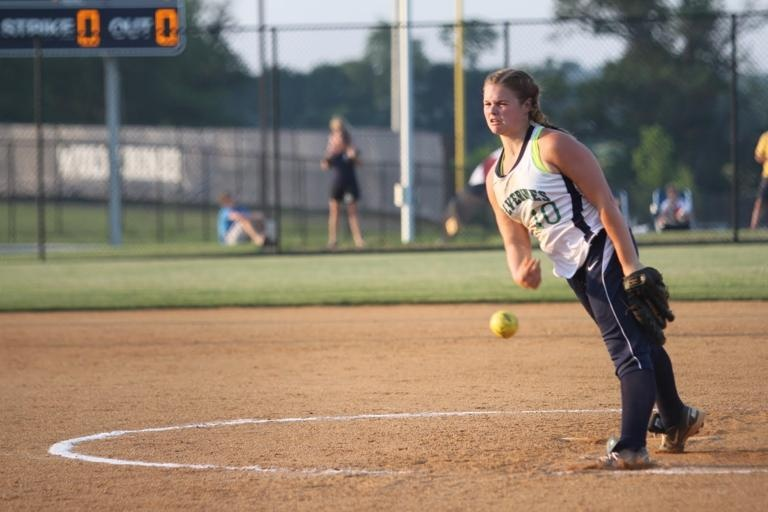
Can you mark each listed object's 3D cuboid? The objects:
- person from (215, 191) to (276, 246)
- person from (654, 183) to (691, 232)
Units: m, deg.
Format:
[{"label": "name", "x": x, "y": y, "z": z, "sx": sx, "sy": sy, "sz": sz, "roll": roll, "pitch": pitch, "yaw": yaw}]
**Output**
[{"label": "person", "x": -2.321, "y": -0.595, "z": 24.900, "sx": 0.818, "sy": 0.964, "sz": 0.455, "roll": -13, "pitch": -12, "yaw": 14}, {"label": "person", "x": 5.983, "y": -1.022, "z": 31.522, "sx": 0.792, "sy": 0.846, "sz": 1.331, "roll": 2, "pitch": -3, "yaw": 7}]
